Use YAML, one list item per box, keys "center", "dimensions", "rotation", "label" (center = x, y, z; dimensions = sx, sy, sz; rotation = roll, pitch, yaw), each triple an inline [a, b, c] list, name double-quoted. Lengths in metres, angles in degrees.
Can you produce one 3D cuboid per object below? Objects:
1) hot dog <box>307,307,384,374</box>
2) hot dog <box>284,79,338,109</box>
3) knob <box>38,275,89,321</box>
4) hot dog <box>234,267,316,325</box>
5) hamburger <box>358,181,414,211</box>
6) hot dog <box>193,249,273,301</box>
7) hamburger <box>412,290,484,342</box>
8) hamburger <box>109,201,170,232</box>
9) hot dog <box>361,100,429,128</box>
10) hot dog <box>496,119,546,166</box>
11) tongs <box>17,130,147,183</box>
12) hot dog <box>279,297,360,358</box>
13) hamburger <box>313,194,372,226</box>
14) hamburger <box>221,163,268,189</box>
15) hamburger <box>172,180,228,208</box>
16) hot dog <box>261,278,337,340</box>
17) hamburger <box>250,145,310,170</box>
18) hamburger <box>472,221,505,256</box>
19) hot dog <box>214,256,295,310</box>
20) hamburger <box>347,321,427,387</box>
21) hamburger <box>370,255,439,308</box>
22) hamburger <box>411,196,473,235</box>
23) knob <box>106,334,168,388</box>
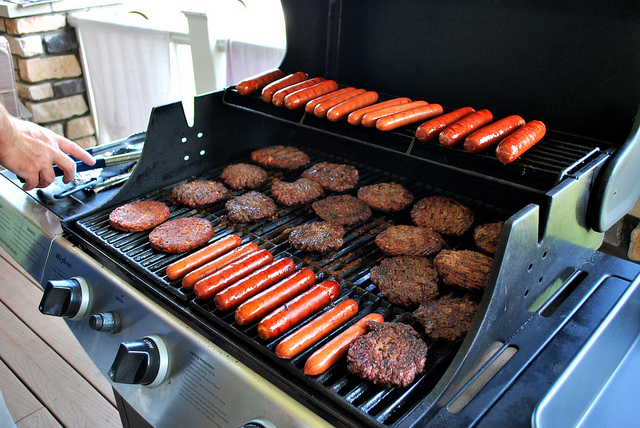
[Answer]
- center: [0.083, 0.407, 1.404]
  dimensions: [0.304, 0.065, 0.069]
  rotation: [-30, 45, -29]
  label: "hot dog"
- center: [-0.025, -0.535, 2.021]
  dimensions: [0.335, 0.094, 0.091]
  rotation: [-27, 34, -37]
  label: "hot dog"
- center: [-0.873, 0.290, 1.606]
  dimensions: [0.155, 0.175, 0.131]
  rotation: [24, 9, 38]
  label: "knob"
- center: [-0.146, 0.284, 1.579]
  dimensions: [0.107, 0.107, 0.402]
  rotation: [3, 17, 40]
  label: "hot dog"
- center: [0.284, -0.109, 2.022]
  dimensions: [0.194, 0.106, 0.239]
  rotation: [-18, 27, -41]
  label: "hamburger"
- center: [-0.302, 0.208, 1.624]
  dimensions: [0.349, 0.096, 0.095]
  rotation: [-26, 23, -28]
  label: "hot dog"
- center: [0.437, 0.325, 1.506]
  dimensions: [0.200, 0.064, 0.176]
  rotation: [-22, 38, -20]
  label: "hamburger"
- center: [-0.710, -0.021, 1.887]
  dimensions: [0.241, 0.109, 0.245]
  rotation: [-2, 16, -2]
  label: "hamburger"
- center: [0.324, -0.377, 1.816]
  dimensions: [0.319, 0.079, 0.072]
  rotation: [-20, 15, -21]
  label: "hot dog"
- center: [0.693, -0.255, 1.589]
  dimensions: [0.249, 0.077, 0.081]
  rotation: [-37, 53, -27]
  label: "hot dog"
- center: [-0.961, -0.293, 2.113]
  dimensions: [0.206, 0.067, 0.785]
  rotation: [21, 31, 27]
  label: "tongs"
- center: [0.000, 0.364, 1.458]
  dimensions: [0.320, 0.072, 0.071]
  rotation: [-28, 33, -29]
  label: "hot dog"
- center: [0.089, -0.053, 1.985]
  dimensions: [0.225, 0.112, 0.245]
  rotation: [16, 23, 43]
  label: "hamburger"
- center: [-0.361, -0.177, 2.138]
  dimensions: [0.176, 0.061, 0.197]
  rotation: [-27, 45, -27]
  label: "hamburger"
- center: [-0.532, -0.091, 2.013]
  dimensions: [0.189, 0.084, 0.204]
  rotation: [29, 49, 34]
  label: "hamburger"
- center: [-0.066, 0.314, 1.502]
  dimensions: [0.297, 0.080, 0.076]
  rotation: [-24, 34, -34]
  label: "hot dog"
- center: [-0.198, -0.275, 2.245]
  dimensions: [0.263, 0.070, 0.186]
  rotation: [26, 47, 31]
  label: "hamburger"
- center: [0.650, 0.070, 1.798]
  dimensions: [0.102, 0.102, 0.192]
  rotation: [12, 41, 19]
  label: "hamburger"
- center: [-0.203, 0.248, 1.580]
  dimensions: [0.274, 0.075, 0.078]
  rotation: [-28, 27, -11]
  label: "hot dog"
- center: [0.200, 0.420, 1.382]
  dimensions: [0.226, 0.065, 0.194]
  rotation: [6, 40, 11]
  label: "hamburger"
- center: [0.309, 0.232, 1.625]
  dimensions: [0.226, 0.150, 0.247]
  rotation: [-13, 22, -35]
  label: "hamburger"
- center: [0.493, -0.021, 1.904]
  dimensions: [0.278, 0.132, 0.275]
  rotation: [-9, 15, -42]
  label: "hamburger"
- center: [-0.584, 0.473, 1.453]
  dimensions: [0.187, 0.189, 0.144]
  rotation: [21, 5, 41]
  label: "knob"
